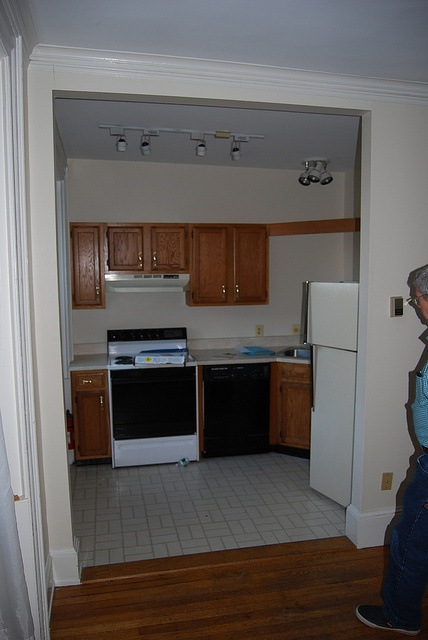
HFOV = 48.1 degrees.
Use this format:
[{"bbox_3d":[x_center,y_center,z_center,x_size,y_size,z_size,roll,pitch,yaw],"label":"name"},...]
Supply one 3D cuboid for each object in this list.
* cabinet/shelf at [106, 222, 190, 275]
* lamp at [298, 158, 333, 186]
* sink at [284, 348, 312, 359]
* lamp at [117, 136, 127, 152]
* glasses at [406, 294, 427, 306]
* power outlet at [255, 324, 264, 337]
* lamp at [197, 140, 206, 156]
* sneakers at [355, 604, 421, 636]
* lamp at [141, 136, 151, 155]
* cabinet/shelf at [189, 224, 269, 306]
[{"bbox_3d":[-0.564,-0.453,3.976,0.682,0.434,0.380,-1,3,-12],"label":"cabinet/shelf"},{"bbox_3d":[0.779,-1.093,3.658,0.237,0.191,0.243,8,12,29],"label":"lamp"},{"bbox_3d":[0.737,0.286,4.255,0.201,0.080,0.188,0,8,26],"label":"sink"},{"bbox_3d":[-0.564,-1.094,2.963,0.072,0.091,0.092,-4,21,-18],"label":"lamp"},{"bbox_3d":[1.025,-0.107,2.463,0.097,0.031,0.105,2,41,19],"label":"glasses"},{"bbox_3d":[0.422,0.083,4.507,0.108,0.133,0.017,-1,4,-11],"label":"power outlet"},{"bbox_3d":[-0.083,-1.056,2.946,0.054,0.090,0.129,-3,7,-1],"label":"lamp"},{"bbox_3d":[0.708,1.221,1.970,0.241,0.100,0.091,11,7,19],"label":"sneakers"},{"bbox_3d":[-0.428,-1.118,3.050,0.090,0.134,0.136,-2,17,-10],"label":"lamp"},{"bbox_3d":[0.101,-0.499,4.041,0.654,0.653,0.320,-1,2,-11],"label":"cabinet/shelf"}]
